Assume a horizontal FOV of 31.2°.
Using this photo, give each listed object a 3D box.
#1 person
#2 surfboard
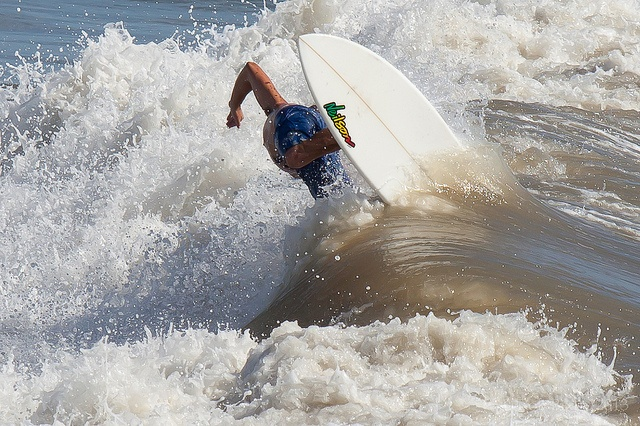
[{"bbox_3d":[-0.402,-0.994,15.399,2.189,1.006,1.122,37,97,1],"label":"person"},{"bbox_3d":[0.739,-1.300,15.097,1.036,3.178,0.306,-44,13,-12],"label":"surfboard"}]
